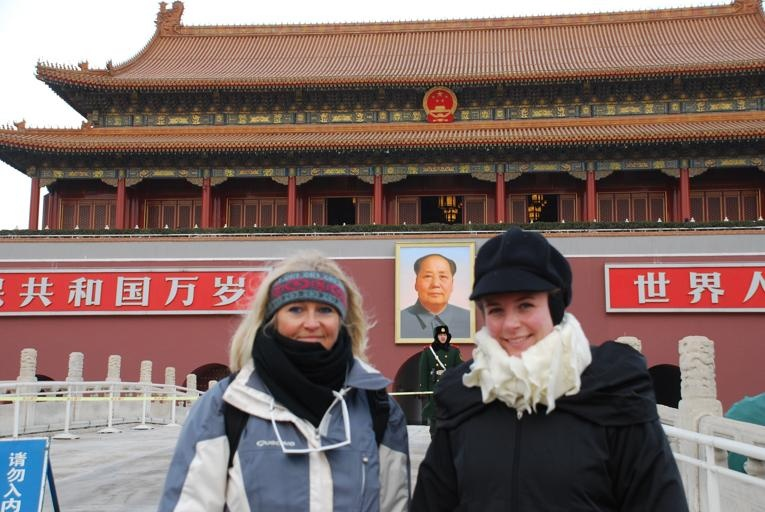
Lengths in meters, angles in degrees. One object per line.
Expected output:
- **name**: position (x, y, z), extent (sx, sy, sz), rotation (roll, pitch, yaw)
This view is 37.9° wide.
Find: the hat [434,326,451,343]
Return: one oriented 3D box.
- **hat**: position (1.430, 1.845, 26.662), extent (0.406, 0.468, 0.452), rotation (-1, -12, -2)
